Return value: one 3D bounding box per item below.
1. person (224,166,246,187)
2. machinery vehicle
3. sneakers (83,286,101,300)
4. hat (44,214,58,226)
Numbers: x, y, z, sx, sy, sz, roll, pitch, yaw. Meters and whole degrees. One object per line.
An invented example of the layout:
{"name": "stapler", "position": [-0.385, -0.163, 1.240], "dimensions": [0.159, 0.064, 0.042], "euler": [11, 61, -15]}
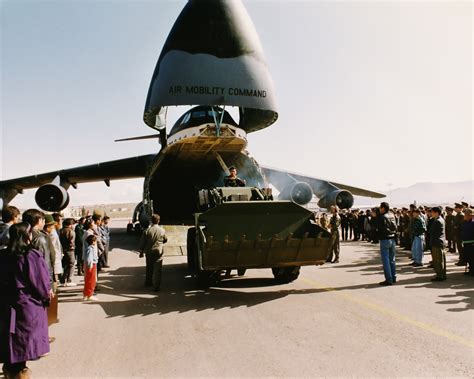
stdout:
{"name": "person", "position": [-0.050, -0.357, 11.902], "dimensions": [0.467, 0.672, 0.827], "euler": [6, -8, -39]}
{"name": "machinery vehicle", "position": [0.449, 1.124, 9.892], "dimensions": [3.078, 2.583, 2.967], "euler": [2, -6, -11]}
{"name": "sneakers", "position": [-3.316, 2.438, 8.982], "dimensions": [0.411, 0.323, 0.179], "euler": [-1, 2, -41]}
{"name": "hat", "position": [-4.157, 0.688, 8.633], "dimensions": [0.250, 0.109, 0.227], "euler": [-8, -1, 34]}
